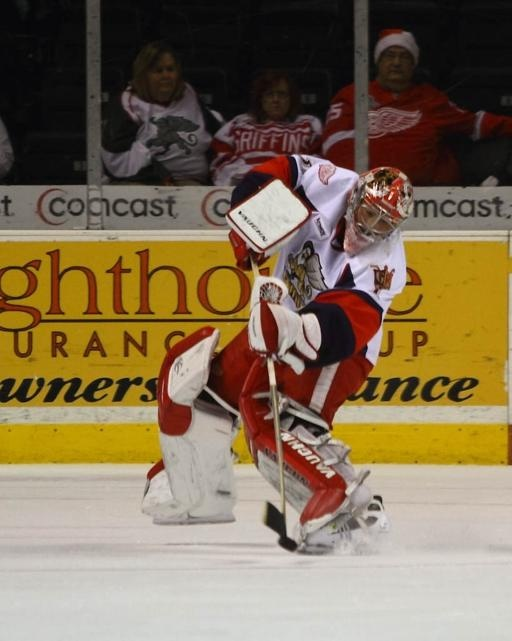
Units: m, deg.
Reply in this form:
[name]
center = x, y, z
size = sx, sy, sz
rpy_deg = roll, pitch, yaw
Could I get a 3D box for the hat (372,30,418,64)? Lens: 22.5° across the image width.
[hat]
center = 0.608, -1.216, 5.656
size = 0.161, 0.136, 0.174
rpy_deg = 10, 30, 7

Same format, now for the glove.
[glove]
center = 0.081, 0.056, 4.084
size = 0.263, 0.189, 0.092
rpy_deg = 1, -10, 15

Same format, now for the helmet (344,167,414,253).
[helmet]
center = 0.397, -0.369, 4.337
size = 0.242, 0.295, 0.139
rpy_deg = 7, 8, 16
